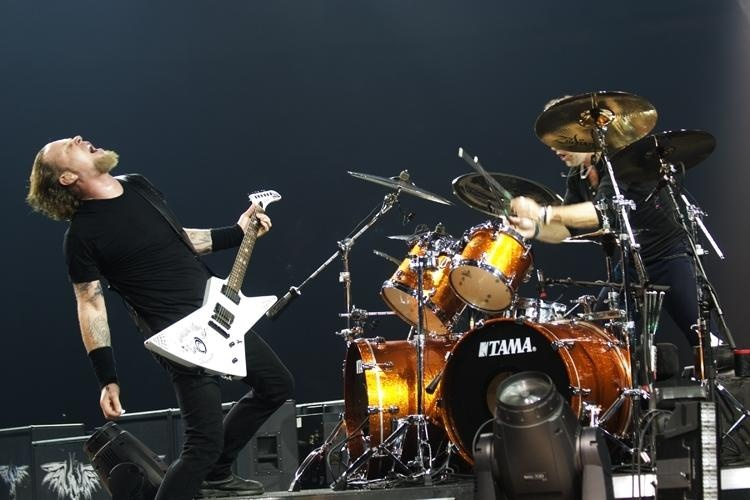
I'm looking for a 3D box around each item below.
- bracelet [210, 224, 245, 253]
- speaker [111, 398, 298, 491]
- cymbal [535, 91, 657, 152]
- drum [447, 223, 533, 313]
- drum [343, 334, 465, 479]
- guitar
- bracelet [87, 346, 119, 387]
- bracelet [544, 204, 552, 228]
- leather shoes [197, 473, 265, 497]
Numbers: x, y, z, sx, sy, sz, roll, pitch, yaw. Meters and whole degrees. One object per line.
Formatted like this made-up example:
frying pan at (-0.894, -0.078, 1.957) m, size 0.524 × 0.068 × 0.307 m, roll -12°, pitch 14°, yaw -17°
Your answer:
bracelet at (-1.097, -0.093, 6.828) m, size 0.167 × 0.118 × 0.231 m, roll -10°, pitch -1°, yaw -6°
speaker at (-1.300, 1.577, 7.575) m, size 1.349 × 0.764 × 0.952 m, roll -4°, pitch -9°, yaw 15°
cymbal at (1.640, -0.969, 6.984) m, size 0.630 × 0.144 × 0.621 m, roll 24°, pitch -43°, yaw -31°
drum at (0.852, 0.177, 7.023) m, size 0.654 × 0.477 × 0.652 m, roll 16°, pitch -42°, yaw 15°
drum at (0.256, 1.235, 7.513) m, size 0.945 × 1.192 × 1.185 m, roll 0°, pitch -3°, yaw 3°
guitar at (-1.149, 0.308, 6.342) m, size 0.895 × 1.186 × 0.353 m, roll -5°, pitch -13°, yaw -17°
bracelet at (-1.821, 0.782, 6.165) m, size 0.161 × 0.280 × 0.193 m, roll -4°, pitch -13°, yaw -21°
bracelet at (1.100, -0.233, 6.003) m, size 0.023 × 0.094 × 0.094 m, roll 4°, pitch 12°, yaw 18°
leather shoes at (-0.997, 1.599, 6.349) m, size 0.447 × 0.174 × 0.164 m, roll -1°, pitch -9°, yaw -10°
